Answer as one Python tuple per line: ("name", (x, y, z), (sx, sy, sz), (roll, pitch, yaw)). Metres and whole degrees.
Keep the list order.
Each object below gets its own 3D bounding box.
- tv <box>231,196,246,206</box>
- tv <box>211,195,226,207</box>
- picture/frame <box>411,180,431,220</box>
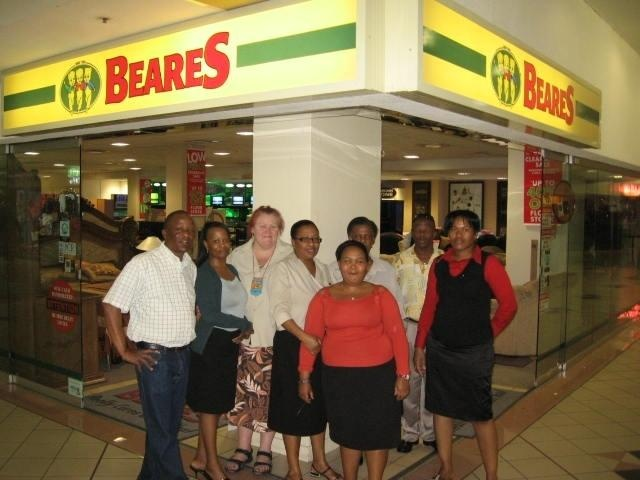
("tv", (-4.058, -1.935, 23.560), (0.806, 0.535, 0.421), (2, -19, -13))
("tv", (-4.775, -1.765, 22.119), (0.716, 0.654, 0.377), (3, -11, -38))
("picture/frame", (4.253, -1.527, 19.946), (0.748, 1.738, 0.143), (0, -2, 41))
